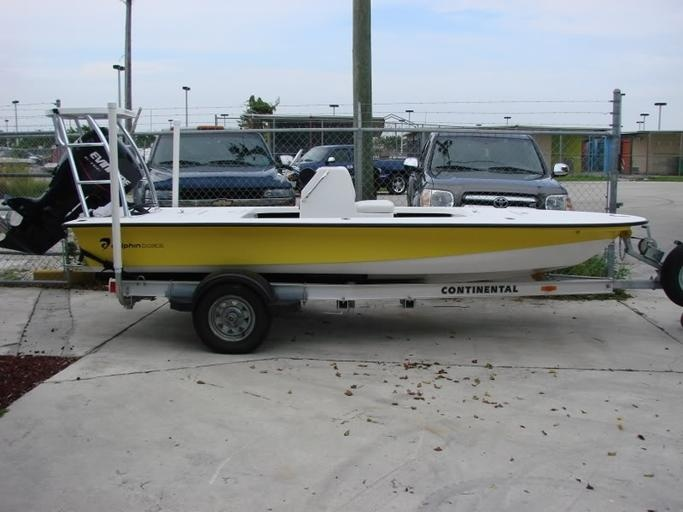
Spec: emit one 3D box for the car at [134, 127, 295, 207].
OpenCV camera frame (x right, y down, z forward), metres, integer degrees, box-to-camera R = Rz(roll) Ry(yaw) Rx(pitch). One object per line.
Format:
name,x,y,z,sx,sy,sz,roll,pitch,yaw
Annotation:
car,-1.753,-1.254,10.266,1.335,0.831,2.091,-1,5,-7

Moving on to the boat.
boat,-0.373,-0.922,8.936,7.067,1.654,4.702,0,8,0

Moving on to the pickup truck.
pickup truck,-0.036,-2.194,19.294,3.465,1.179,1.771,2,12,1

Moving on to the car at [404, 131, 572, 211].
car,1.964,-1.160,9.397,1.317,0.837,1.979,0,4,-2
